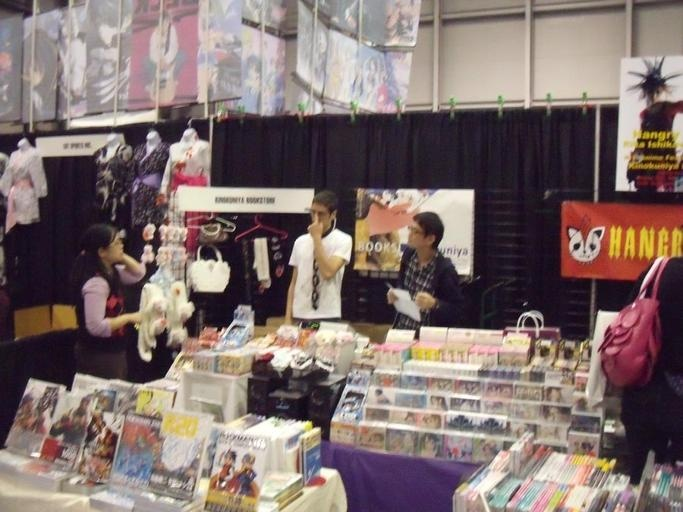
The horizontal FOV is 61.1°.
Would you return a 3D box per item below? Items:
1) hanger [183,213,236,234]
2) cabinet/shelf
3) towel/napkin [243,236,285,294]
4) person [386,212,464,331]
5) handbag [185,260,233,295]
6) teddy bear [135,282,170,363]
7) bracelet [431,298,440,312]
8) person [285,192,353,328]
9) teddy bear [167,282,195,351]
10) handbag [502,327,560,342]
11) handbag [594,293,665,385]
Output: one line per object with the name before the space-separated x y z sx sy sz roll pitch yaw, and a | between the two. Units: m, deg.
hanger | -1.155 -0.304 5.026 0.319 0.104 0.213 4 0 11
cabinet/shelf | 0.718 0.369 4.812 0.966 0.429 0.580 3 2 14
towel/napkin | -0.673 0.076 5.019 0.382 0.620 0.079 -2 -8 -7
person | 0.640 0.135 4.318 0.511 0.910 0.305 2 2 13
handbag | -1.172 0.183 5.065 0.237 0.284 0.101 1 -5 -5
teddy bear | -1.702 0.585 5.173 0.355 0.242 0.635 37 -7 -26
bracelet | 0.675 0.357 4.181 0.021 0.073 0.059 7 -1 -16
person | -0.184 0.028 4.554 0.494 1.067 0.311 1 2 -6
teddy bear | -1.428 0.532 5.097 0.272 0.524 0.146 0 11 -6
handbag | 1.289 0.525 3.807 0.228 0.099 0.220 -3 -19 11
handbag | 1.466 0.432 2.961 0.233 0.484 0.331 2 6 15
